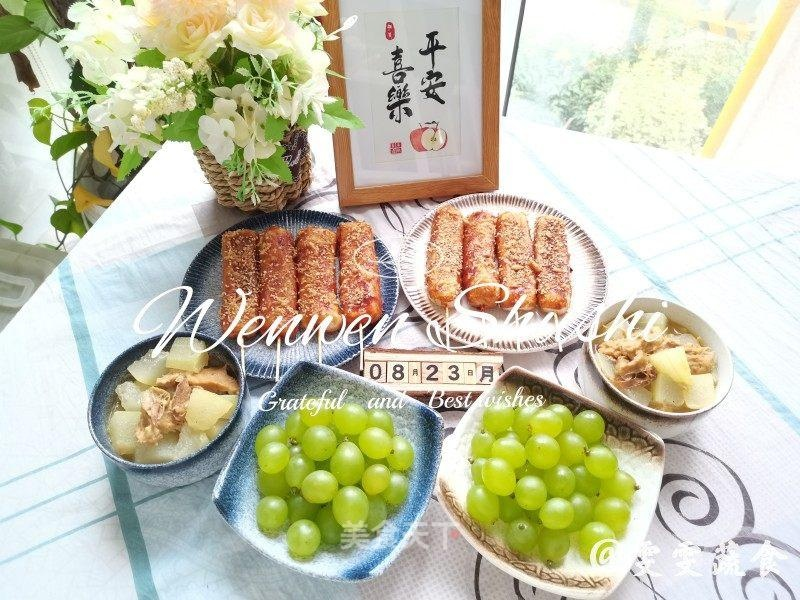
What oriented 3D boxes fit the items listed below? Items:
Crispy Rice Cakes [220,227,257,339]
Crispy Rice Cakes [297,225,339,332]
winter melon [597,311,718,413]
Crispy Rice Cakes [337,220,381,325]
[{"bbox_3d":[-0.428,-0.051,1.626,0.091,0.079,0.306,0,67,-7],"label":"Crispy Rice Cakes"},{"bbox_3d":[-0.223,-0.064,1.638,0.102,0.084,0.324,-2,64,-7],"label":"Crispy Rice Cakes"},{"bbox_3d":[0.604,0.154,1.393,0.210,0.131,0.165,-7,35,-15],"label":"winter melon"},{"bbox_3d":[-0.107,-0.074,1.675,0.103,0.085,0.288,-2,61,-8],"label":"Crispy Rice Cakes"}]
